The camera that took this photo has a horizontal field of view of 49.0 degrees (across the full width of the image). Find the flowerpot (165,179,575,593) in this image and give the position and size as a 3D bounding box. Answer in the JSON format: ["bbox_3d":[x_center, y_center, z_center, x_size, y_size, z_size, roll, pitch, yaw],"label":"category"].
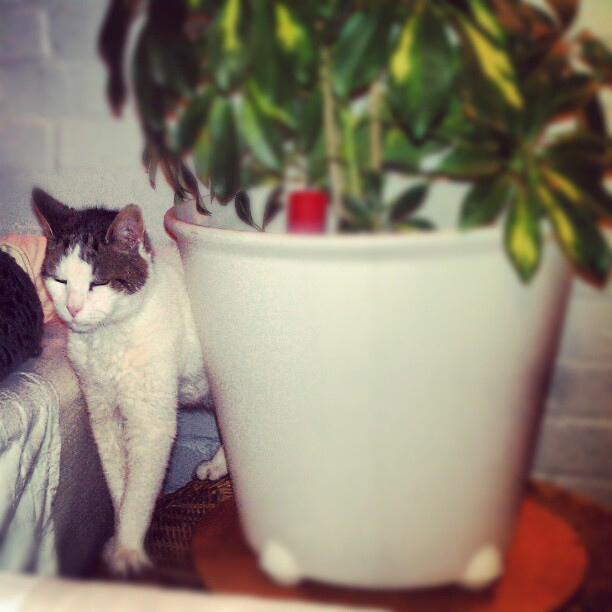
[{"bbox_3d":[0.067,0.094,0.846,0.432,0.396,0.426,8,12,43],"label":"flowerpot"}]
